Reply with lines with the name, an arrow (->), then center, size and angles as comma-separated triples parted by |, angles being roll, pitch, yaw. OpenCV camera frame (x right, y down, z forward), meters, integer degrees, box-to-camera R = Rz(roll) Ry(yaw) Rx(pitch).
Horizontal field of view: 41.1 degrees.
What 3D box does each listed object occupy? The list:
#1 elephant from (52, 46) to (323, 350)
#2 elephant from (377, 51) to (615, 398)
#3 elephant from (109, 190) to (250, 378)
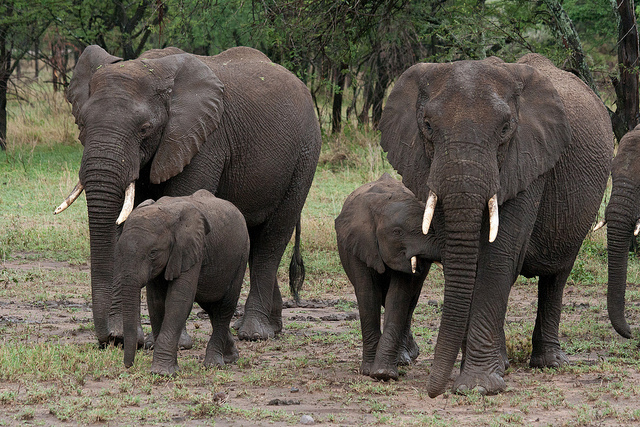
elephant -> -1.552, -0.136, 10.250 | 1.835, 3.422, 4.032 | 0, 0, 33
elephant -> 1.957, 0.151, 9.238 | 1.798, 3.309, 4.106 | 2, 0, 29
elephant -> -1.436, 0.715, 8.694 | 0.897, 1.679, 1.910 | -1, -3, 25
